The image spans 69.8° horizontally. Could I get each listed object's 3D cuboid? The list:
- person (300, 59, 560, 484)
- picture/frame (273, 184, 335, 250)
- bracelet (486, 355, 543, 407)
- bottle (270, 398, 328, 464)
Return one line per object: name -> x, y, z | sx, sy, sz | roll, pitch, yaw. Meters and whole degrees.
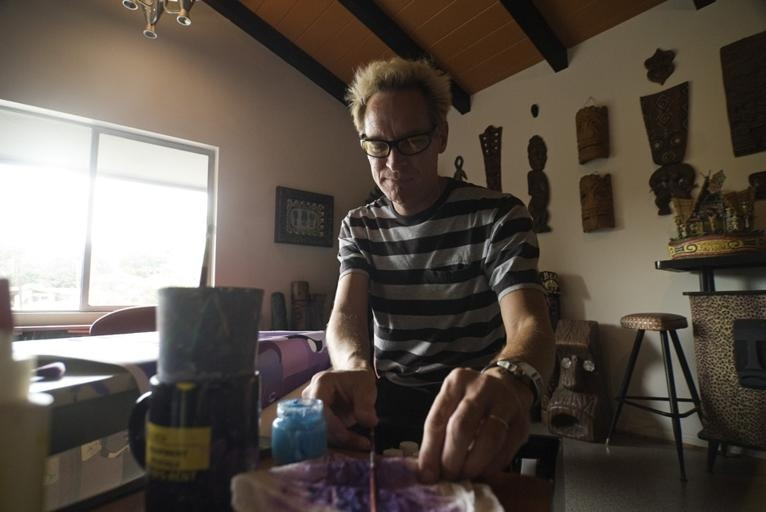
person -> 0.248, -0.053, 2.555 | 0.909, 1.785, 1.239 | -6, 8, -30
picture/frame -> -0.834, -0.391, 5.557 | 0.065, 0.543, 0.625 | -5, -7, 42
bracelet -> 0.527, 0.501, 2.216 | 0.230, 0.162, 0.090 | 0, 7, 16
bottle -> -0.298, 0.631, 2.034 | 0.208, 0.209, 0.211 | 0, -8, -2
